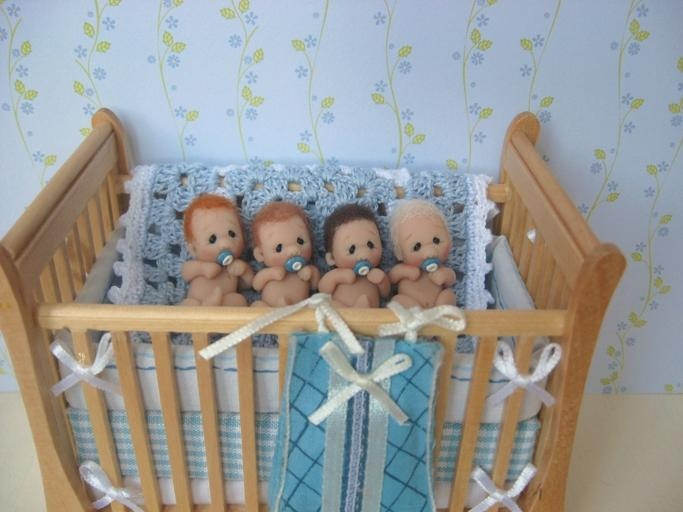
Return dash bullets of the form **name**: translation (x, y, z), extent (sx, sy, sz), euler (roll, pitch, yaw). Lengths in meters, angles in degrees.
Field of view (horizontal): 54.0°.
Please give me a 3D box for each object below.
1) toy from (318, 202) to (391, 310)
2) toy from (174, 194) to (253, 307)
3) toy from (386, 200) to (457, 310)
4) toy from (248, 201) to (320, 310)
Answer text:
- **toy**: translation (0.039, 0.009, 2.231), extent (0.253, 0.451, 0.215), euler (1, -28, -9)
- **toy**: translation (-0.428, 0.008, 2.294), extent (0.208, 0.464, 0.212), euler (-3, 12, -12)
- **toy**: translation (0.268, 0.013, 2.326), extent (0.202, 0.481, 0.207), euler (-9, 18, -5)
- **toy**: translation (-0.204, 0.001, 2.284), extent (0.236, 0.428, 0.195), euler (-17, 30, -28)
